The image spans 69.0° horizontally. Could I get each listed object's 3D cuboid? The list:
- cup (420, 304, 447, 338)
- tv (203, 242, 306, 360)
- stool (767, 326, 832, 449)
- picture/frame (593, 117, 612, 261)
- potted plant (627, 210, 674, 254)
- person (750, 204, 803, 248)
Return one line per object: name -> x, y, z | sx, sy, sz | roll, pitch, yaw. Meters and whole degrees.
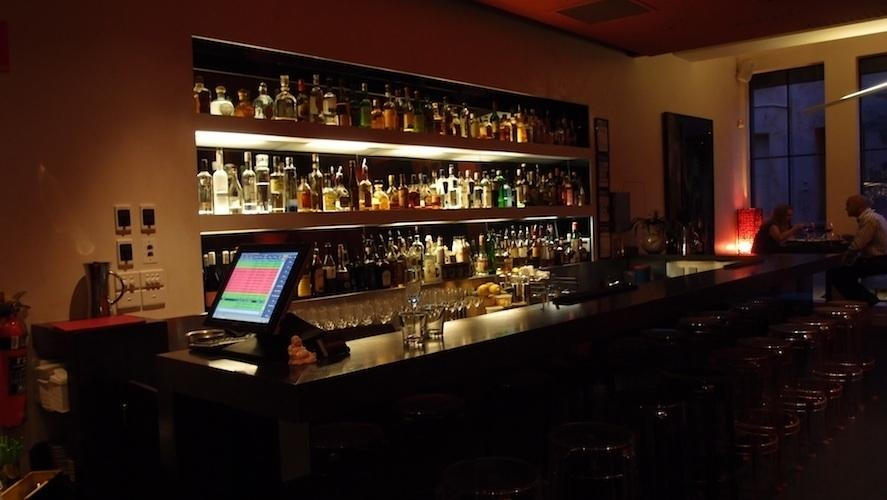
cup -> -0.053, 0.439, 4.013 | 0.181, 0.177, 0.188 | -1, -2, 0
tv -> -1.075, 0.299, 3.846 | 0.767, 0.668, 0.447 | -1, 4, 40
stool -> 3.103, 1.185, 5.718 | 0.473, 0.957, 0.453 | 3, -6, -34
picture/frame -> 1.858, -0.741, 7.617 | 0.143, 1.642, 0.479 | 4, 11, 38
potted plant -> 2.516, -0.192, 7.945 | 0.653, 0.594, 0.432 | 4, 3, 35
person -> 4.889, -0.314, 9.539 | 0.559, 0.704, 0.463 | 0, 9, 15
